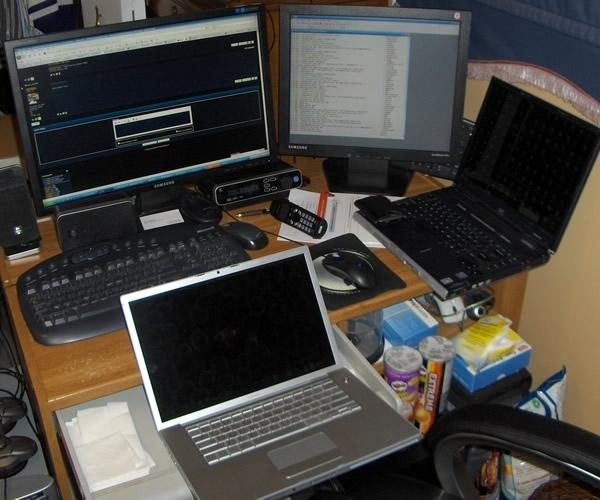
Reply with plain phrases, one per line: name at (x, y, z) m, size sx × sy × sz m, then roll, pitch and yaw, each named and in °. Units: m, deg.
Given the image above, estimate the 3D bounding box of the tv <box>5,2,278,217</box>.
tv at (-0.402, -0.352, 1.328) m, size 0.629 × 0.460 × 0.064 m, roll -10°, pitch 34°, yaw -18°

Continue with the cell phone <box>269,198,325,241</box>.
cell phone at (-0.006, -0.091, 1.456) m, size 0.188 × 0.072 × 0.028 m, roll 31°, pitch 6°, yaw 32°

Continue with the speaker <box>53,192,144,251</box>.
speaker at (-0.522, -0.066, 1.274) m, size 0.232 × 0.110 × 0.130 m, roll -18°, pitch 35°, yaw -25°

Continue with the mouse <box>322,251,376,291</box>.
mouse at (0.117, 0.036, 1.246) m, size 0.146 × 0.046 × 0.089 m, roll 31°, pitch 50°, yaw 27°

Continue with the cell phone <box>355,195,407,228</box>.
cell phone at (0.223, -0.112, 1.396) m, size 0.092 × 0.028 × 0.106 m, roll -3°, pitch 42°, yaw -30°

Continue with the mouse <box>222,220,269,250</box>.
mouse at (-0.141, -0.056, 1.318) m, size 0.117 × 0.027 × 0.065 m, roll 30°, pitch 40°, yaw 24°

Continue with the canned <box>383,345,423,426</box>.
canned at (0.262, 0.400, 1.464) m, size 0.137 × 0.195 × 0.163 m, roll 0°, pitch 25°, yaw -4°

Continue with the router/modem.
router/modem at (-0.162, -0.198, 1.483) m, size 0.156 × 0.061 × 0.126 m, roll -25°, pitch 40°, yaw -35°

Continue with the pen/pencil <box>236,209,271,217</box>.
pen/pencil at (-0.139, -0.109, 1.477) m, size 0.073 × 0.011 × 0.011 m, roll -11°, pitch 26°, yaw -13°

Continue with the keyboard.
keyboard at (-0.463, 0.068, 1.182) m, size 0.460 × 0.059 × 0.245 m, roll -19°, pitch 42°, yaw -23°
